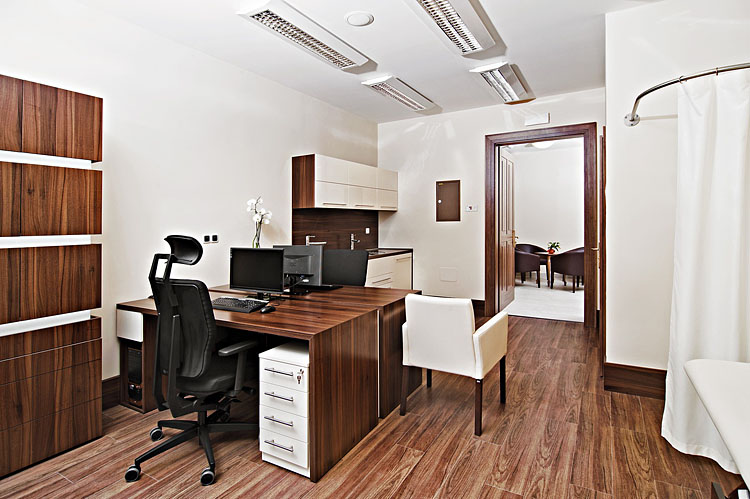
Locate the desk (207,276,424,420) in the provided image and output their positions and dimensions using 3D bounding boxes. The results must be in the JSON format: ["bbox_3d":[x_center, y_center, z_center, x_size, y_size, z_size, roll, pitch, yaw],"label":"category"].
[{"bbox_3d":[-0.344,0.696,4.043,1.232,0.660,1.268,1,5,32],"label":"desk"}]

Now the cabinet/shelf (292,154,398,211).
[{"bbox_3d":[-0.370,-0.878,6.588,0.373,0.662,1.715,1,4,40],"label":"cabinet/shelf"}]

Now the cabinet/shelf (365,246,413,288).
[{"bbox_3d":[0.215,0.295,6.851,0.499,0.637,0.893,5,7,37],"label":"cabinet/shelf"}]

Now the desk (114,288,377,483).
[{"bbox_3d":[-1.351,0.785,3.841,0.931,1.690,1.118,3,1,34],"label":"desk"}]

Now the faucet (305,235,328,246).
[{"bbox_3d":[-0.793,-0.108,6.378,0.097,0.152,0.537,-1,3,19],"label":"faucet"}]

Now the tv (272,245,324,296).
[{"bbox_3d":[-0.730,0.197,4.507,0.414,0.373,0.202,3,11,19],"label":"tv"}]

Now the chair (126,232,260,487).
[{"bbox_3d":[-1.445,0.799,3.676,0.889,1.796,0.834,0,4,34],"label":"chair"}]
